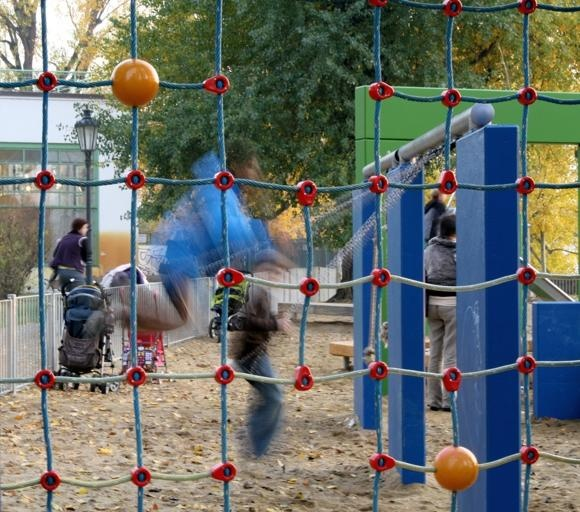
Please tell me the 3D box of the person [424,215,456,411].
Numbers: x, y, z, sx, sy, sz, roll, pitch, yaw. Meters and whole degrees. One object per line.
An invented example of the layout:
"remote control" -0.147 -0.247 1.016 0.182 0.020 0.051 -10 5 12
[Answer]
"person" 1.787 0.764 17.219 0.518 2.346 0.688 0 -11 12

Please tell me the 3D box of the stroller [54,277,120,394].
"stroller" -2.496 1.050 18.434 0.730 1.403 1.271 1 2 -7

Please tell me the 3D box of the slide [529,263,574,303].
"slide" 3.489 0.501 20.291 0.744 0.199 0.751 32 -4 10

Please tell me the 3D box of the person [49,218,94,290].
"person" -2.875 0.025 19.607 0.429 1.192 0.446 1 5 -11

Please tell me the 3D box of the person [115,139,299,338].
"person" -0.754 -0.377 13.353 0.988 1.968 1.590 -2 9 -14
